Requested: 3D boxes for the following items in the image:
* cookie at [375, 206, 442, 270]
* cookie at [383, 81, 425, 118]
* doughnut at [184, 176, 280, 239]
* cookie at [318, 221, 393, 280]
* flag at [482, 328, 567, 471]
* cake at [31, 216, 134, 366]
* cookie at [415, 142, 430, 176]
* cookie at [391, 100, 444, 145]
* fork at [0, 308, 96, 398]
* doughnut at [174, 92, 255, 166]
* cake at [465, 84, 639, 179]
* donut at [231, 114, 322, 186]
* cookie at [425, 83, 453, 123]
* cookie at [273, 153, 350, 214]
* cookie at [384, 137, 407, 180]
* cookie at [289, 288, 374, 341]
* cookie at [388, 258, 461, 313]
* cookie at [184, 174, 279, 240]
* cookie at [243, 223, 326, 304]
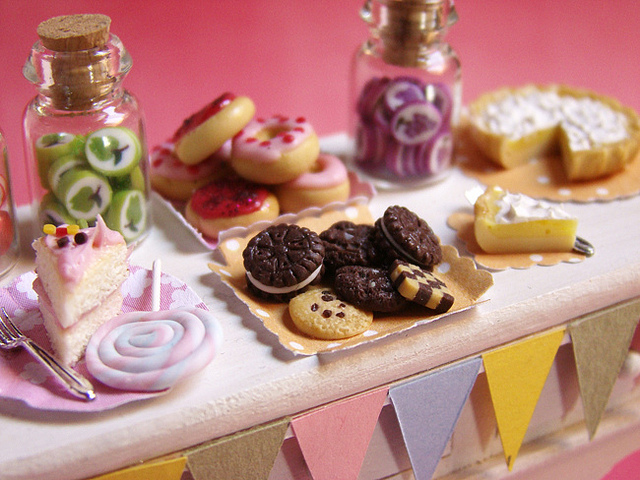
[{"bbox_3d":[0.164,-0.018,1.187,0.119,0.105,0.170,-4,15,-33],"label":"cookie"},{"bbox_3d":[0.185,-0.310,1.394,0.091,0.068,0.029,-5,30,-3],"label":"cookie"},{"bbox_3d":[-0.187,-0.068,1.335,0.197,0.087,0.124,6,32,14],"label":"doughnut"},{"bbox_3d":[0.062,0.015,1.244,0.152,0.092,0.125,1,19,-19],"label":"cookie"},{"bbox_3d":[0.391,0.297,1.209,0.187,0.242,0.073,-19,34,-25],"label":"flag"},{"bbox_3d":[-0.416,0.098,1.067,0.166,0.235,0.174,6,21,4],"label":"cake"},{"bbox_3d":[0.230,-0.185,1.443,0.028,0.075,0.008,-5,30,-3],"label":"cookie"},{"bbox_3d":[0.212,-0.255,1.395,0.090,0.096,0.020,-12,22,-8],"label":"cookie"},{"bbox_3d":[-0.427,0.183,1.007,0.030,0.033,0.223,-39,45,-17],"label":"fork"},{"bbox_3d":[-0.212,-0.226,1.270,0.143,0.049,0.146,-36,10,9],"label":"doughnut"},{"bbox_3d":[0.551,-0.270,1.538,0.390,0.115,0.300,13,35,25],"label":"cake"},{"bbox_3d":[-0.105,-0.174,1.383,0.192,0.098,0.198,0,14,29],"label":"donut"},{"bbox_3d":[0.259,-0.302,1.431,0.072,0.075,0.024,-7,-4,-44],"label":"cookie"},{"bbox_3d":[-0.007,-0.114,1.352,0.131,0.089,0.137,-12,23,-12],"label":"cookie"},{"bbox_3d":[0.170,-0.189,1.455,0.059,0.103,0.029,16,35,29],"label":"cookie"},{"bbox_3d":[0.018,0.129,1.123,0.149,0.047,0.154,1,22,-8],"label":"cookie"},{"bbox_3d":[0.178,0.079,1.155,0.115,0.079,0.172,6,7,-15],"label":"cookie"},{"bbox_3d":[-0.183,-0.070,1.307,0.134,0.044,0.142,-2,33,-5],"label":"cookie"},{"bbox_3d":[-0.065,0.044,1.159,0.141,0.093,0.122,-13,32,-16],"label":"cookie"}]
